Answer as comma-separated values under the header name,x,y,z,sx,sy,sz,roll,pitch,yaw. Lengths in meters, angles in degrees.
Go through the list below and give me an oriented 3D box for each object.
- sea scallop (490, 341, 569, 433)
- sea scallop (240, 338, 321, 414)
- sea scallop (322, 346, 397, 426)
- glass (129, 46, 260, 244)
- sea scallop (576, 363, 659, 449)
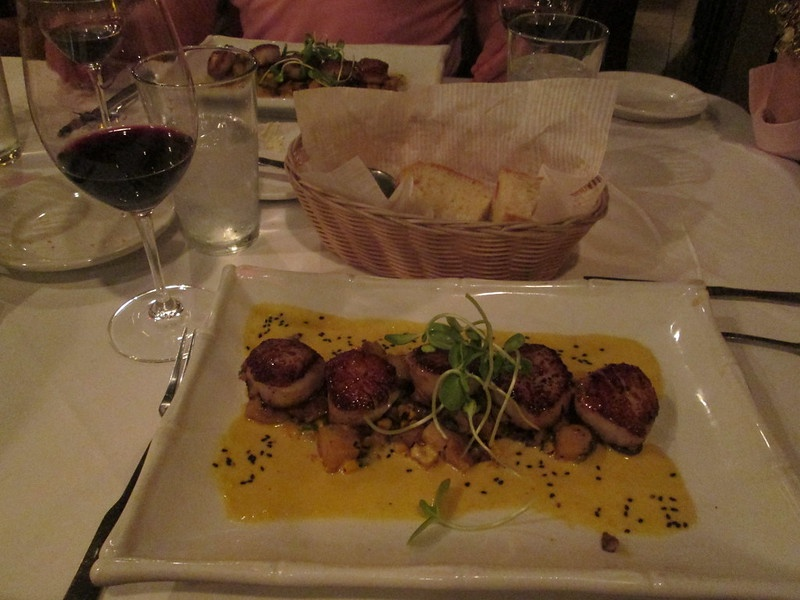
name,x,y,z,sx,sy,sz,roll,pitch,yaw
sea scallop,0.320,0.205,1.576,0.162,0.070,0.205,-17,31,15
sea scallop,-0.282,0.169,1.594,0.174,0.112,0.201,7,34,-6
sea scallop,-0.094,0.201,1.543,0.146,0.097,0.153,32,55,22
glass,-0.527,-0.393,1.753,0.298,0.503,0.307,9,37,4
sea scallop,0.503,0.227,1.543,0.200,0.059,0.195,-21,42,-22
